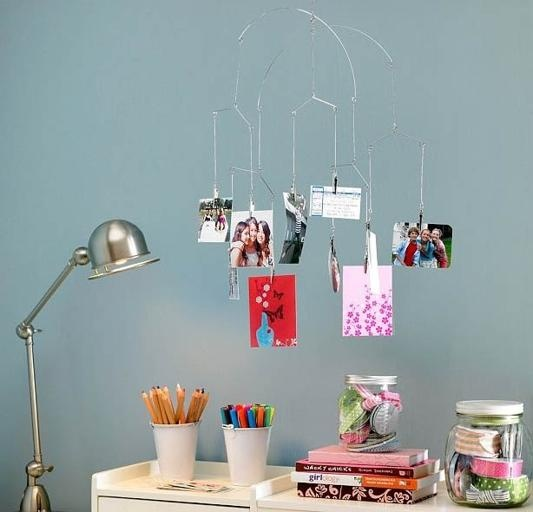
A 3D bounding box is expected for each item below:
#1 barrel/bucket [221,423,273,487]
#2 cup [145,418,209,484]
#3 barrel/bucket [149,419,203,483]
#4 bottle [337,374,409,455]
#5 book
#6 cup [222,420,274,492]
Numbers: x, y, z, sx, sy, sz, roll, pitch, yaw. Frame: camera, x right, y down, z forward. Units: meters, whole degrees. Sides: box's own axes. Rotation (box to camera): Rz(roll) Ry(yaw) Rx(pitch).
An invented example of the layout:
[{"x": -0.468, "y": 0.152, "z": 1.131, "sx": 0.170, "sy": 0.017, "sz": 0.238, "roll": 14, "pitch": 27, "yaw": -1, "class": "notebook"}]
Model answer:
[{"x": -0.046, "y": 0.503, "z": 2.535, "sx": 0.109, "sy": 0.147, "sz": 0.135, "roll": 1, "pitch": -7, "yaw": -6, "class": "barrel/bucket"}, {"x": -0.234, "y": 0.511, "z": 2.598, "sx": 0.116, "sy": 0.153, "sz": 0.124, "roll": 0, "pitch": -7, "yaw": 0, "class": "cup"}, {"x": -0.237, "y": 0.506, "z": 2.601, "sx": 0.110, "sy": 0.153, "sz": 0.128, "roll": 1, "pitch": -7, "yaw": -9, "class": "barrel/bucket"}, {"x": 0.255, "y": 0.387, "z": 2.435, "sx": 0.139, "sy": 0.204, "sz": 0.154, "roll": 1, "pitch": -5, "yaw": -5, "class": "bottle"}, {"x": 0.249, "y": 0.524, "z": 2.440, "sx": 0.345, "sy": 0.106, "sz": 0.233, "roll": 0, "pitch": 0, "yaw": 18, "class": "book"}, {"x": -0.048, "y": 0.512, "z": 2.526, "sx": 0.110, "sy": 0.147, "sz": 0.135, "roll": 1, "pitch": -6, "yaw": -7, "class": "cup"}]
